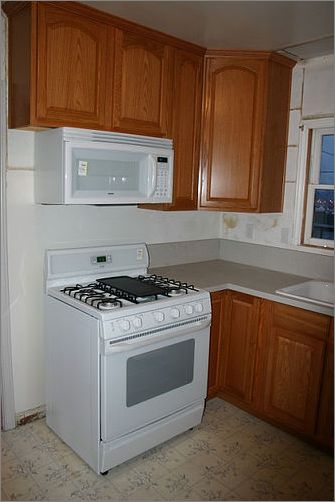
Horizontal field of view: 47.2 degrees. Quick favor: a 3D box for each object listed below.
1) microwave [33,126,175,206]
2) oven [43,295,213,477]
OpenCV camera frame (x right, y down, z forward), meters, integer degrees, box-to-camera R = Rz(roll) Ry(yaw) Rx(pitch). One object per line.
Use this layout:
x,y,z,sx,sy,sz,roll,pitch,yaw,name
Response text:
-0.284,-0.432,2.007,0.732,0.397,0.359,-1,6,-29,microwave
-0.187,0.572,1.992,0.655,0.740,0.591,-5,10,-35,oven
